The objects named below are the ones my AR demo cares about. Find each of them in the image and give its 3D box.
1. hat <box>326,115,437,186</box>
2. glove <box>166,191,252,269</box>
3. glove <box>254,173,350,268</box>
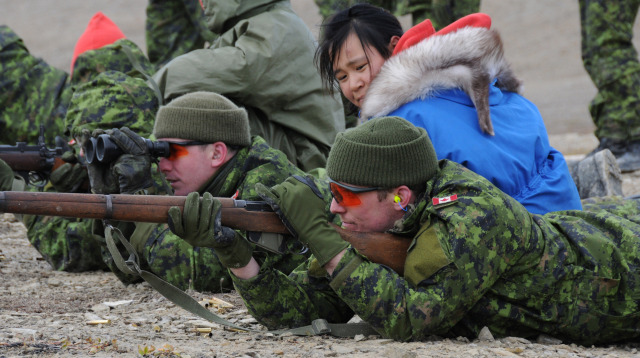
[{"bbox_3d":[0.561,-0.211,7.497,0.996,0.634,0.231,-1,11,-2],"label":"hat"},{"bbox_3d":[-0.991,0.469,7.379,0.433,0.803,0.519,1,1,7],"label":"glove"},{"bbox_3d":[-0.123,0.339,7.469,0.514,0.995,0.558,0,2,-11],"label":"glove"}]
